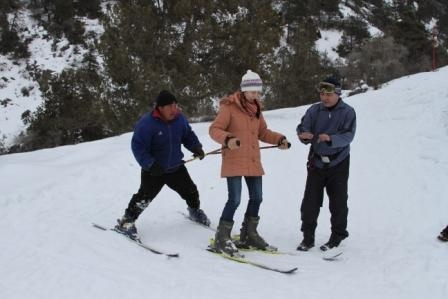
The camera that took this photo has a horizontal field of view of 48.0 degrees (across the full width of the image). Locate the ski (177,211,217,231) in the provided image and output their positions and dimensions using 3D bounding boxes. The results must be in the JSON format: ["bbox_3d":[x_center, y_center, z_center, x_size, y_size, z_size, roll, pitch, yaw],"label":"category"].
[{"bbox_3d":[-0.726,1.848,12.904,1.265,0.313,0.180,4,14,40],"label":"ski"}]

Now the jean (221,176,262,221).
[{"bbox_3d":[0.413,1.121,11.745,0.988,1.051,0.266,-6,10,-3],"label":"jean"}]
